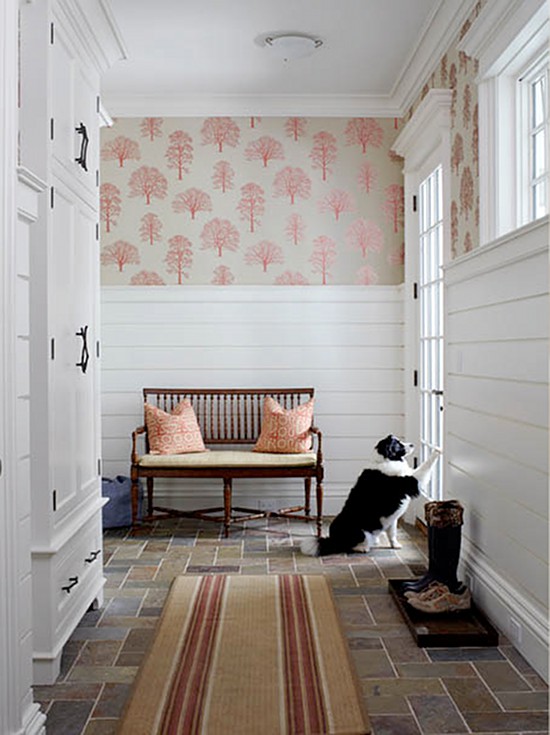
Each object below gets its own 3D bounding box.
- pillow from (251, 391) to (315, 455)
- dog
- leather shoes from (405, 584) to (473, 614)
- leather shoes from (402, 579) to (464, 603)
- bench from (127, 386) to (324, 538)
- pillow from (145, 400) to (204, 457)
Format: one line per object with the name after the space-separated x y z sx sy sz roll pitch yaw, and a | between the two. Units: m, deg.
0.077 0.381 3.895 0.375 0.358 0.218 2 0 15 | pillow
0.529 0.725 3.267 0.747 0.599 0.379 -2 2 1 | dog
0.665 0.941 2.379 0.183 0.063 0.117 -1 -12 6 | leather shoes
0.663 0.933 2.504 0.288 0.107 0.096 -2 -11 17 | leather shoes
-0.298 0.585 3.807 1.213 0.840 0.447 0 -1 -3 | bench
-0.649 0.385 3.829 0.377 0.328 0.266 0 0 -13 | pillow
